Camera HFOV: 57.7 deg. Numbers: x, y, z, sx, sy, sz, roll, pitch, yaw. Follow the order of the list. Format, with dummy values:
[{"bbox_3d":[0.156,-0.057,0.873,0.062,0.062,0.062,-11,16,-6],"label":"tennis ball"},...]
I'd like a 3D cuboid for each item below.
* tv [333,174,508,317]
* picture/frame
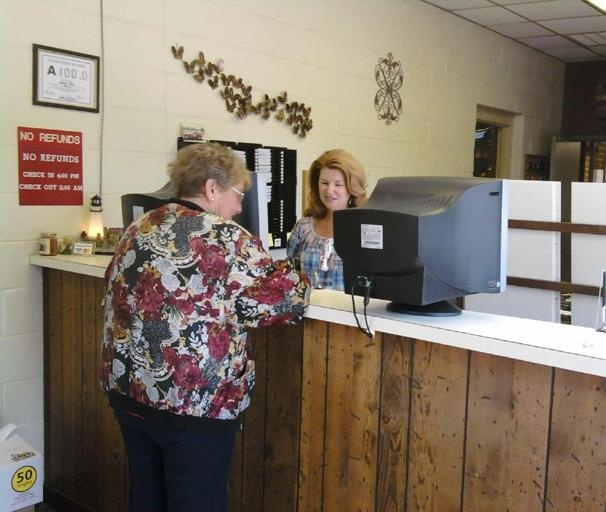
[{"bbox_3d":[0.316,-0.056,1.763,0.417,0.420,0.336,5,13,32],"label":"tv"},{"bbox_3d":[-1.323,-0.974,3.012,0.034,0.360,0.365,7,9,43],"label":"picture/frame"}]
